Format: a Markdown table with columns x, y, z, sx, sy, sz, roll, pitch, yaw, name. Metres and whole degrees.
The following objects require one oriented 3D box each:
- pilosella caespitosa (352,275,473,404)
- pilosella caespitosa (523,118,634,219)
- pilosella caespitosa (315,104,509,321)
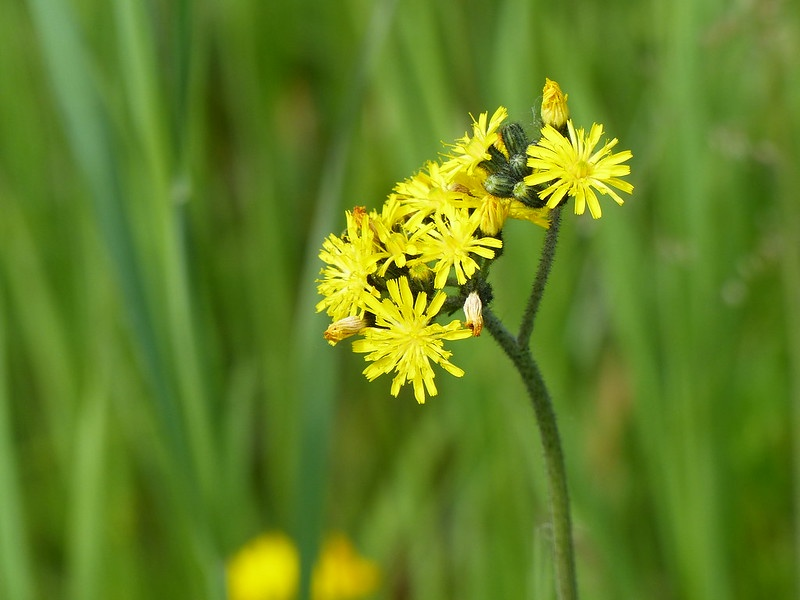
| x | y | z | sx | sy | sz | roll | pitch | yaw | name |
| --- | --- | --- | --- | --- | --- | --- | --- | --- | --- |
| 0.011 | 0.046 | 1.149 | 0.151 | 0.124 | 0.101 | -21 | -56 | 4 | pilosella caespitosa |
| 0.225 | -0.168 | 1.163 | 0.135 | 0.134 | 0.055 | 35 | -108 | -33 | pilosella caespitosa |
| 0.006 | -0.052 | 1.196 | 0.096 | 0.239 | 0.248 | 34 | -71 | -32 | pilosella caespitosa |
